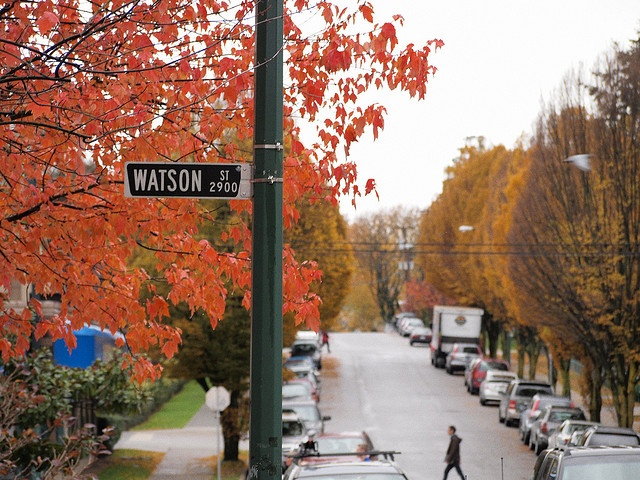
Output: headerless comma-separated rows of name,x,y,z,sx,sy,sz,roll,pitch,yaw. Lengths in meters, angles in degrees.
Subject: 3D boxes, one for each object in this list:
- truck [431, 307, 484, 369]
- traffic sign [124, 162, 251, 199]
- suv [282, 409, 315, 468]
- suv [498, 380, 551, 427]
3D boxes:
truck,6.396,4.656,65.472,1.974,2.781,4.224,3,-4,0
traffic sign,-2.376,-1.078,24.705,2.354,0.234,0.938,0,-43,-2
suv,-0.617,5.422,37.874,0.768,1.026,1.895,-1,-8,2
suv,7.013,5.718,47.679,1.570,1.650,1.791,0,-4,10
